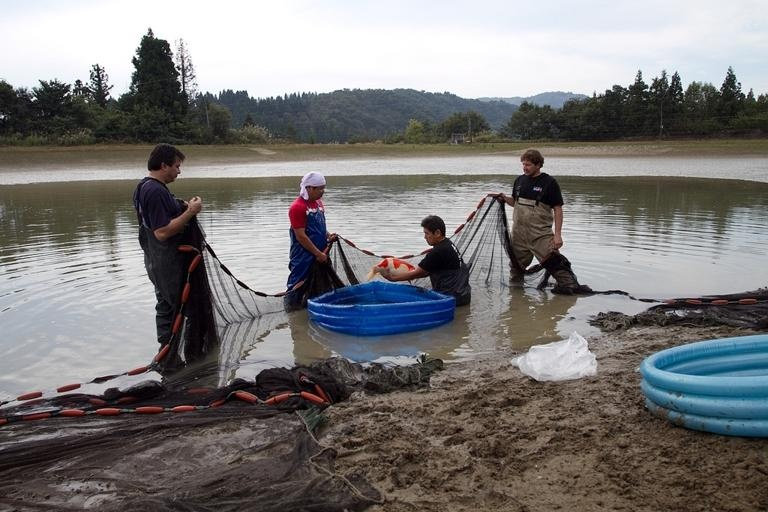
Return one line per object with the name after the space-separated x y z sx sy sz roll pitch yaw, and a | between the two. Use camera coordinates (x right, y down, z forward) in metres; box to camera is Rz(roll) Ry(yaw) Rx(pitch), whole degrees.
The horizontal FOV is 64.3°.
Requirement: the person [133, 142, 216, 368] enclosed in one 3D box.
-2.585 0.006 7.559 0.780 2.775 0.668 -8 13 -19 | person

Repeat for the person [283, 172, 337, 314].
-1.142 -0.210 9.197 0.895 2.110 0.634 -7 13 -18 | person

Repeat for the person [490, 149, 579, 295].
2.579 -0.608 9.986 0.552 2.291 1.346 -10 14 -26 | person
